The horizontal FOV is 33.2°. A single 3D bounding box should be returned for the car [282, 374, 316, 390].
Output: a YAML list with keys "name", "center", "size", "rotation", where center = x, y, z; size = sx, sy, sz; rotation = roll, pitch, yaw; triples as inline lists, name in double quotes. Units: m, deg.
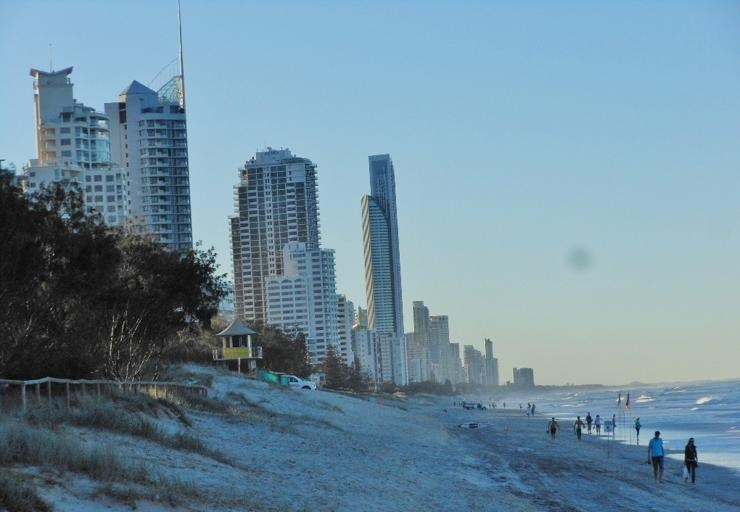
- name: "car"
  center: [-6.717, 11.736, 114.125]
  size: [3.238, 1.424, 1.492]
  rotation: [0, 1, 5]
